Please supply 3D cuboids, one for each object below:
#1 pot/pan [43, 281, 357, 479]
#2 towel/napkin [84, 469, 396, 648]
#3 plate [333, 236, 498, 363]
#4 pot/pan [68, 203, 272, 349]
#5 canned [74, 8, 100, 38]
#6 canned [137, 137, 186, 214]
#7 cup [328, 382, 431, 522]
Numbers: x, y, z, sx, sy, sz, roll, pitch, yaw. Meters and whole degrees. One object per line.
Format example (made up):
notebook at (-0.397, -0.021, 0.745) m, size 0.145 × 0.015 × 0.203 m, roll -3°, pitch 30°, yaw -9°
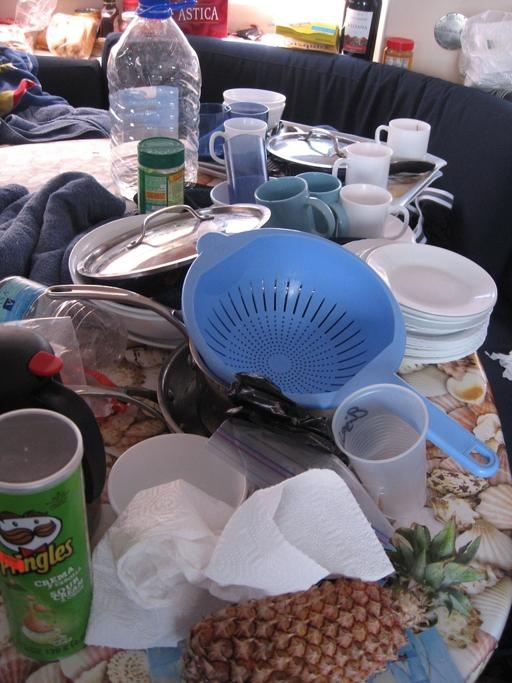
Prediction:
pot/pan at (-0.052, 0.062, 0.518) m, size 0.234 × 0.079 × 0.151 m, roll 23°, pitch 27°, yaw 2°
towel/napkin at (-0.013, 0.138, 0.360) m, size 0.171 × 0.050 × 0.107 m, roll -4°, pitch 44°, yaw -11°
plate at (0.164, -0.052, 0.638) m, size 0.156 × 0.054 × 0.150 m, roll 19°, pitch 50°, yaw 15°
pot/pan at (-0.083, -0.074, 0.675) m, size 0.206 × 0.090 × 0.176 m, roll -36°, pitch 54°, yaw -29°
canned at (-0.742, -1.420, 2.500) m, size 0.109 × 0.091 × 0.153 m, roll -3°, pitch 31°, yaw -15°
canned at (-0.131, -0.223, 0.781) m, size 0.068 × 0.099 × 0.067 m, roll 26°, pitch 44°, yaw 20°
cup at (0.095, 0.086, 0.436) m, size 0.070 × 0.076 × 0.066 m, roll -12°, pitch 50°, yaw 14°
